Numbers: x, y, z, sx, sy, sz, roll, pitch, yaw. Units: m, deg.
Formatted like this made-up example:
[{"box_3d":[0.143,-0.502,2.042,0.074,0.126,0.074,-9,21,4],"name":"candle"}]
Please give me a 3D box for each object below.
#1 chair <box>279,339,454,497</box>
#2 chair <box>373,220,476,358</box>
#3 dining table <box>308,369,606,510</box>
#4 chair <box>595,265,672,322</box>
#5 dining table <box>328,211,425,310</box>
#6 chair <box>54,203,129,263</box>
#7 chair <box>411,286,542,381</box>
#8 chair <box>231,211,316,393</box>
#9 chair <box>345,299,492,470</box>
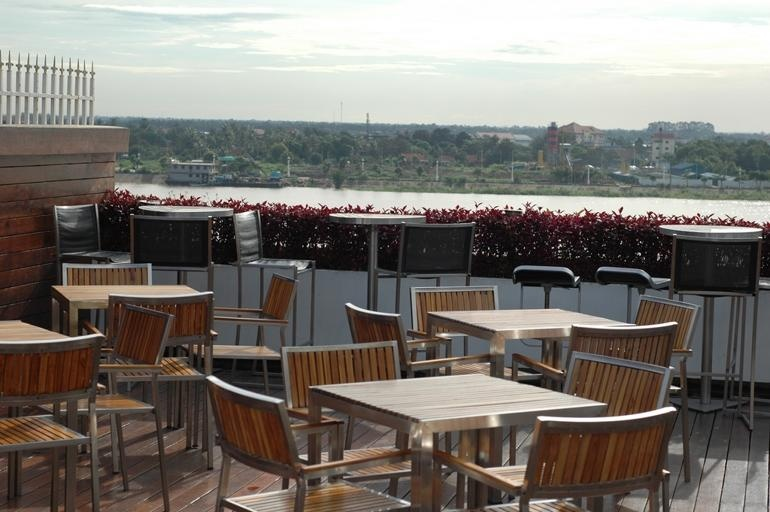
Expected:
[{"box_3d":[0.063,1.026,6.800,0.859,1.375,0.913,-1,1,-29],"name":"chair"},{"box_3d":[0.497,0.278,10.383,0.865,1.434,1.016,-1,16,-9],"name":"chair"},{"box_3d":[0.390,0.950,6.257,1.078,0.682,1.022,-5,7,-27],"name":"dining table"},{"box_3d":[2.393,0.340,9.456,0.448,0.896,0.447,-8,10,-43],"name":"chair"},{"box_3d":[-0.146,0.019,10.197,0.975,1.114,0.943,-1,3,-27],"name":"dining table"},{"box_3d":[-3.203,-0.243,10.644,0.692,0.609,0.594,0,5,-2],"name":"chair"},{"box_3d":[0.666,0.618,8.594,0.864,1.222,0.879,0,0,-18],"name":"chair"},{"box_3d":[-1.193,0.344,10.506,0.747,1.603,0.628,2,-4,-37],"name":"chair"},{"box_3d":[0.269,0.909,7.775,1.162,1.652,1.010,-1,3,-17],"name":"chair"}]
